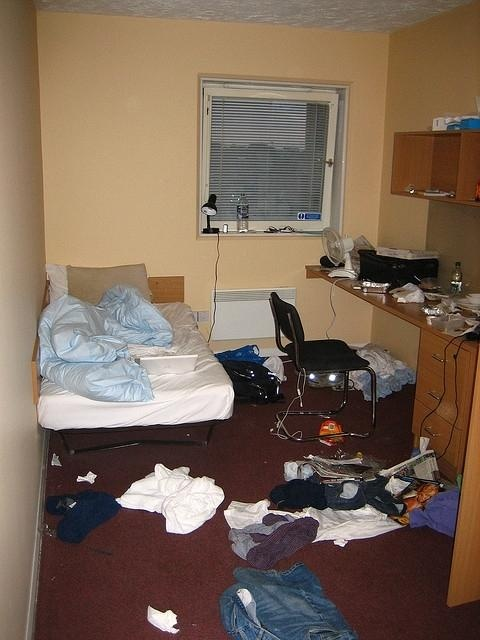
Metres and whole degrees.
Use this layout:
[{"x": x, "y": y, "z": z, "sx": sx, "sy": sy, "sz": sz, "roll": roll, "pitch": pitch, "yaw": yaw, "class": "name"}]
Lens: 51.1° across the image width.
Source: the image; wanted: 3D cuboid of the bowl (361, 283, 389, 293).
[{"x": 0.917, "y": -0.229, "z": 3.368, "sx": 0.133, "sy": 0.049, "sz": 0.086, "roll": 5, "pitch": 14, "yaw": 5, "class": "bowl"}]

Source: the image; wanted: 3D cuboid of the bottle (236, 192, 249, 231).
[{"x": 0.028, "y": -0.921, "z": 4.273, "sx": 0.102, "sy": 0.300, "sz": 0.052, "roll": -1, "pitch": 12, "yaw": -7, "class": "bottle"}]

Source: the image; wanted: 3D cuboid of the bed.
[{"x": -0.597, "y": 0.214, "z": 3.203, "sx": 0.900, "sy": 0.537, "sz": 1.403, "roll": -5, "pitch": 34, "yaw": -12, "class": "bed"}]

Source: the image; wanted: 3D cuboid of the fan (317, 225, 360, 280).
[{"x": 0.802, "y": -0.498, "z": 3.822, "sx": 0.253, "sy": 0.400, "sz": 0.305, "roll": 0, "pitch": -2, "yaw": 27, "class": "fan"}]
